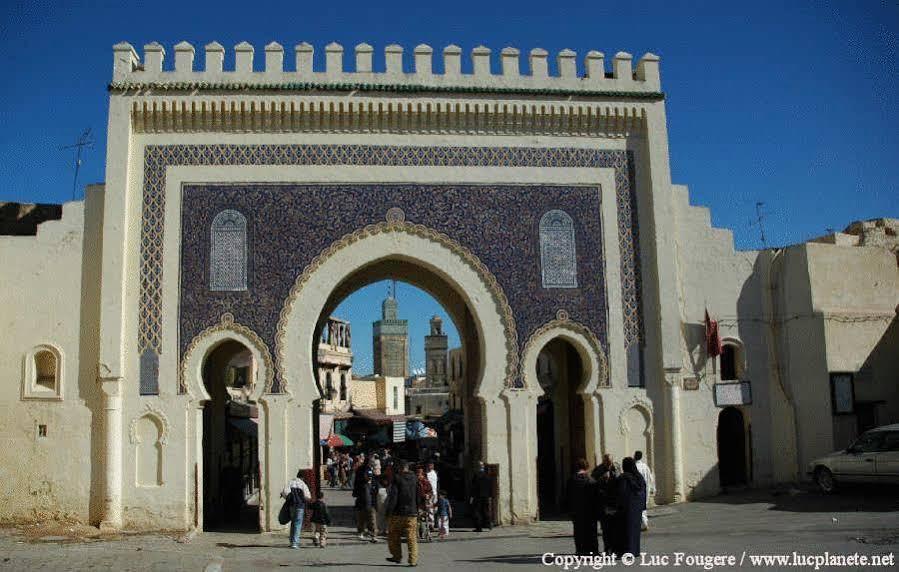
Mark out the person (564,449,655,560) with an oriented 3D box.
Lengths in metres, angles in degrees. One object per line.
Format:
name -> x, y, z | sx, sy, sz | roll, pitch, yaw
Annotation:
person -> 2.893, 4.111, 22.329 | 1.303, 1.738, 0.559 | 0, 12, 7

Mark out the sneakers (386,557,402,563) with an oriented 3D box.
sneakers -> -1.076, 5.221, 23.165 | 0.304, 0.122, 0.104 | 8, -4, 22

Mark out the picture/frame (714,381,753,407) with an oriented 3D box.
picture/frame -> 6.342, 2.424, 27.080 | 1.082, 0.524, 0.236 | -1, 0, -18
